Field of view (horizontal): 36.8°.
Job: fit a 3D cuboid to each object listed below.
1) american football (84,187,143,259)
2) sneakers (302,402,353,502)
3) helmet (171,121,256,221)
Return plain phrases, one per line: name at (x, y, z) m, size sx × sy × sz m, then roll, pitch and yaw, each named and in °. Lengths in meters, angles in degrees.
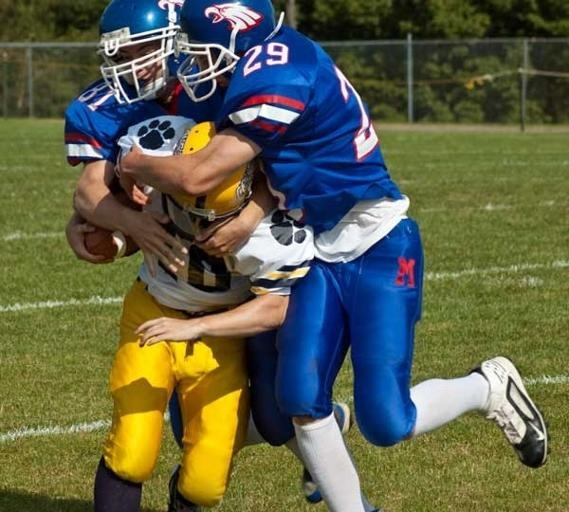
american football at (-0.577, -0.085, 2.910) m, size 0.267 × 0.090 × 0.192 m, roll -26°, pitch 17°, yaw 6°
sneakers at (0.147, 0.684, 3.118) m, size 0.140 × 0.389 × 0.175 m, roll -16°, pitch -43°, yaw 36°
helmet at (-0.168, -0.262, 2.642) m, size 0.247 × 0.244 × 0.306 m, roll 6°, pitch 37°, yaw 7°
